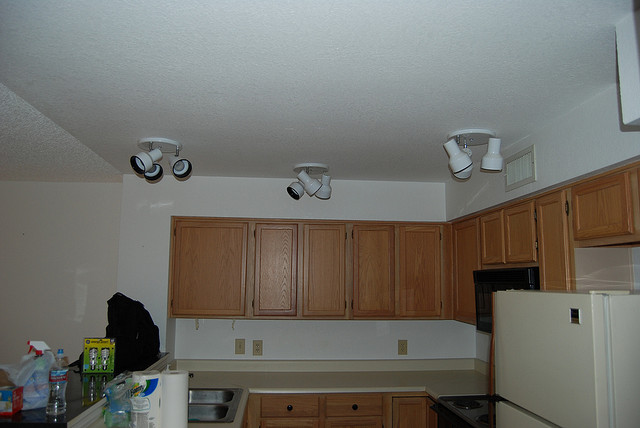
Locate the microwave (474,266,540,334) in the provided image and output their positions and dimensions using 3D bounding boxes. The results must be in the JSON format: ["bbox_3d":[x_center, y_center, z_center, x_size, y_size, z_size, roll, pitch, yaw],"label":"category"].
[{"bbox_3d":[1.218,0.555,2.980,0.183,0.417,0.510,3,-13,-7],"label":"microwave"}]

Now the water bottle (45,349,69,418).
[{"bbox_3d":[-1.555,0.991,2.735,0.112,0.363,0.346,5,-15,-29],"label":"water bottle"}]

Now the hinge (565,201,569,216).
[{"bbox_3d":[1.554,-0.036,2.893,0.006,0.077,0.025,8,-17,-39],"label":"hinge"}]
